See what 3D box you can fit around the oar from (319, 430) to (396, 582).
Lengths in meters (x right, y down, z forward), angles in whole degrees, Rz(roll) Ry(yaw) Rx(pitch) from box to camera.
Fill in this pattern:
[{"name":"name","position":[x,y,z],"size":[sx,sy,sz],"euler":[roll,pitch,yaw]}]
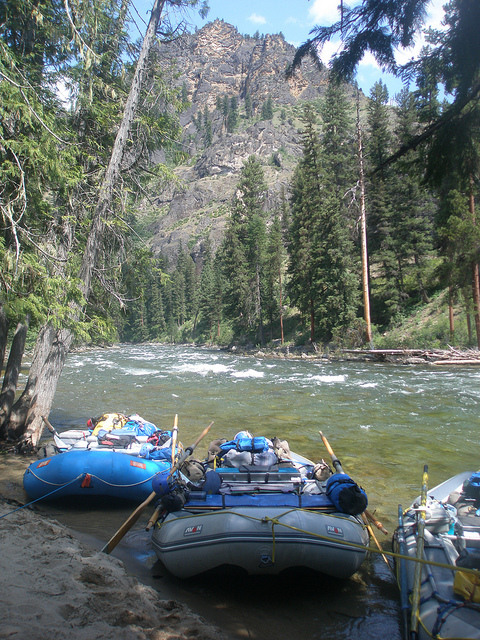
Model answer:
[{"name":"oar","position":[1.302,2.071,6.588],"size":[0.225,0.190,3.046],"euler":[-24,22,2]}]

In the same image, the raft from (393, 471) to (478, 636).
[{"name":"raft","position":[1.935,2.198,4.623],"size":[0.751,1.346,0.831],"euler":[-3,1,2]}]

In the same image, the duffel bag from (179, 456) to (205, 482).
[{"name":"duffel bag","position":[-0.571,1.844,6.164],"size":[0.180,0.186,0.246],"euler":[23,-11,-26]}]

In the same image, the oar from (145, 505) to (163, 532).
[{"name":"oar","position":[-0.942,2.195,5.623],"size":[0.077,0.097,0.466],"euler":[-25,8,22]}]

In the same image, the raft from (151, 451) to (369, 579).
[{"name":"raft","position":[0.180,2.349,5.256],"size":[2.233,0.693,0.660],"euler":[0,-6,10]}]

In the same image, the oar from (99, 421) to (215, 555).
[{"name":"oar","position":[-1.145,2.191,6.510],"size":[0.134,0.120,2.889],"euler":[-40,3,20]}]

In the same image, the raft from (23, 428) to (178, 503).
[{"name":"raft","position":[-2.090,2.403,8.257],"size":[2.081,0.931,2.928],"euler":[4,-3,3]}]
